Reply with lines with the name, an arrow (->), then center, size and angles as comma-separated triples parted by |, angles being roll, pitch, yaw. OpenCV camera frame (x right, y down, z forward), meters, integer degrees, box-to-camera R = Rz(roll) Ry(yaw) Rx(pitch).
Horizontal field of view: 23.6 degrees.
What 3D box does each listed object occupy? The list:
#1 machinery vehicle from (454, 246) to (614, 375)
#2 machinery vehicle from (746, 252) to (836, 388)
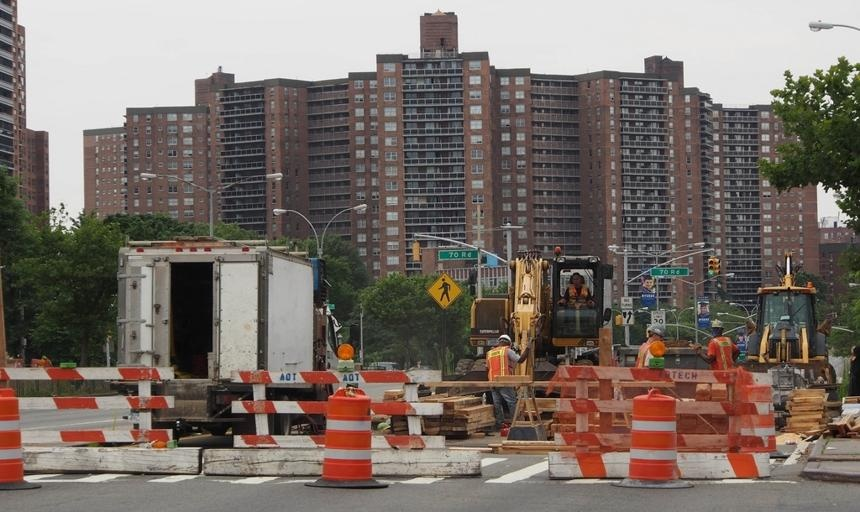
machinery vehicle -> 12.115, 5.172, 194.366 | 7.319, 17.929, 7.693 | -1, -3, 13
machinery vehicle -> 35.703, 5.867, 199.877 | 7.383, 12.869, 3.574 | -2, -7, 7
